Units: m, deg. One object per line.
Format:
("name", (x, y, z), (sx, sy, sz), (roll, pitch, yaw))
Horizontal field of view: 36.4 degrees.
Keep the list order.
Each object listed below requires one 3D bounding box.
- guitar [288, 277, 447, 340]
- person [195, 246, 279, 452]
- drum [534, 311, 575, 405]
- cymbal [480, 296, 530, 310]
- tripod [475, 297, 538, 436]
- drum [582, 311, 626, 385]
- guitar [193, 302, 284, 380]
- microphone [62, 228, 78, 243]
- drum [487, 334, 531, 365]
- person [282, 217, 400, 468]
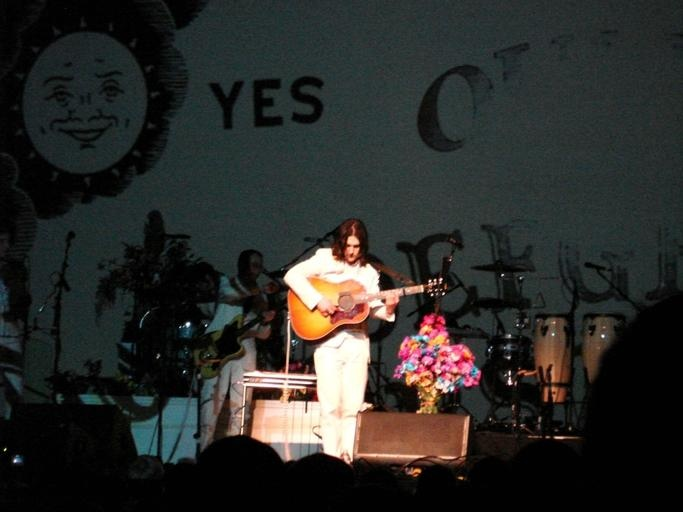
("guitar", (0.113, 0.478, 10.527), (1.249, 0.661, 1.087), (1, -1, -2))
("person", (-1.126, 0.988, 11.548), (0.668, 2.064, 0.620), (2, 3, 14))
("drum", (2.260, 1.066, 11.074), (0.410, 0.944, 0.273), (1, -14, 3))
("cymbal", (1.718, 0.490, 11.247), (0.377, 0.085, 0.226), (3, -2, -10))
("tripod", (1.733, 1.081, 10.991), (0.546, 1.288, 0.635), (2, 0, 10))
("drum", (2.278, 0.758, 9.011), (0.388, 0.813, 0.381), (1, 2, 0))
("guitar", (-1.156, 0.860, 11.334), (1.095, 0.433, 0.135), (-35, -10, 1))
("microphone", (-3.220, -0.261, 12.369), (0.137, 0.137, 0.023), (-2, -14, 15))
("drum", (1.727, 0.922, 10.695), (0.340, 0.198, 0.334), (1, -5, 0))
("person", (0.003, 0.744, 10.184), (1.024, 2.350, 0.891), (4, 4, 10))
